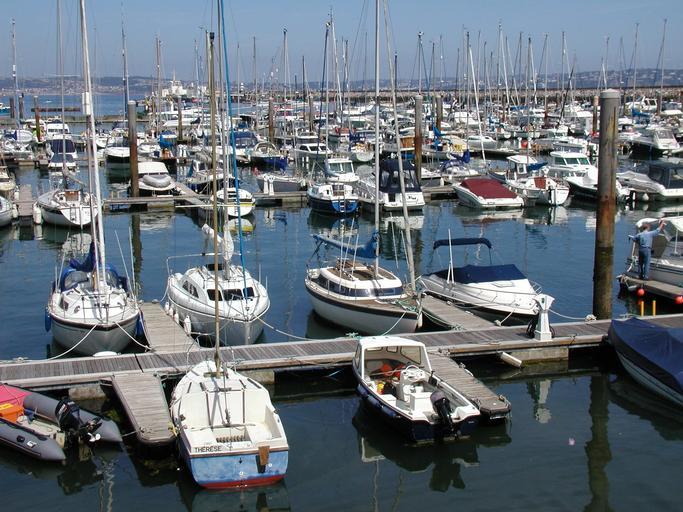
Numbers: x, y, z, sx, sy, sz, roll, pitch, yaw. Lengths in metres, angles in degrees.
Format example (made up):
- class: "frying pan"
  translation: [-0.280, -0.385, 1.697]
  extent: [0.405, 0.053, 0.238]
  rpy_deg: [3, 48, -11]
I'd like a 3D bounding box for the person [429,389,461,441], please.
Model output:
- class: "person"
  translation: [2.365, 3.778, 18.012]
  extent: [0.465, 1.030, 0.663]
  rpy_deg: [-13, 18, -36]
